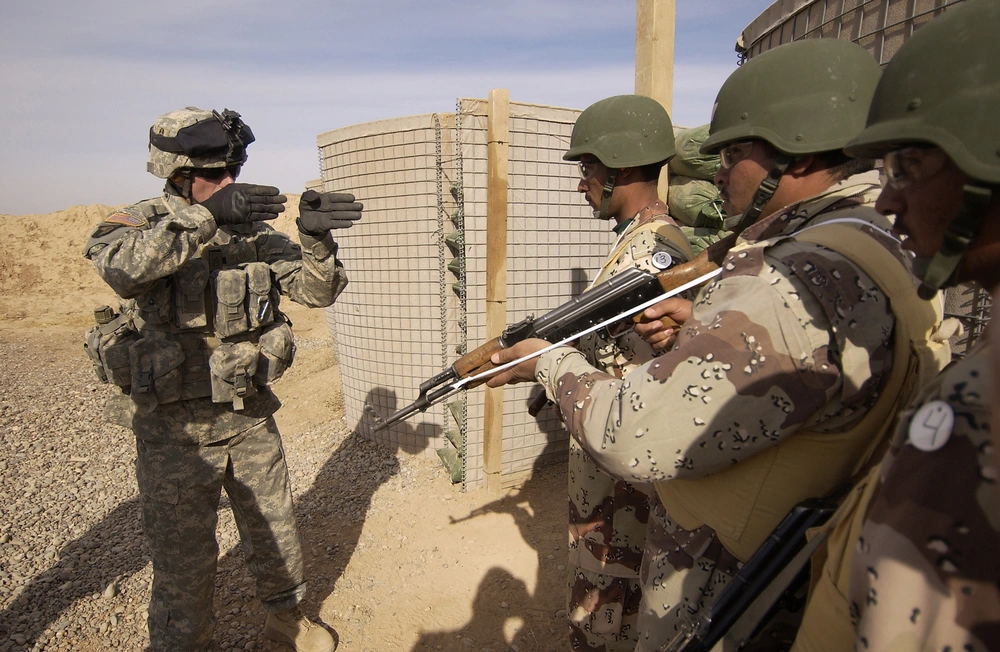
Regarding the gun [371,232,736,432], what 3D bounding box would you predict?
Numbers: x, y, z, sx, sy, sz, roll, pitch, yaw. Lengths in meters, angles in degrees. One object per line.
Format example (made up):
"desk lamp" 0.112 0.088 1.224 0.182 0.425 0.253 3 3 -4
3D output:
"gun" 0.410 0.129 5.403 2.738 0.856 0.227 -27 40 -2
